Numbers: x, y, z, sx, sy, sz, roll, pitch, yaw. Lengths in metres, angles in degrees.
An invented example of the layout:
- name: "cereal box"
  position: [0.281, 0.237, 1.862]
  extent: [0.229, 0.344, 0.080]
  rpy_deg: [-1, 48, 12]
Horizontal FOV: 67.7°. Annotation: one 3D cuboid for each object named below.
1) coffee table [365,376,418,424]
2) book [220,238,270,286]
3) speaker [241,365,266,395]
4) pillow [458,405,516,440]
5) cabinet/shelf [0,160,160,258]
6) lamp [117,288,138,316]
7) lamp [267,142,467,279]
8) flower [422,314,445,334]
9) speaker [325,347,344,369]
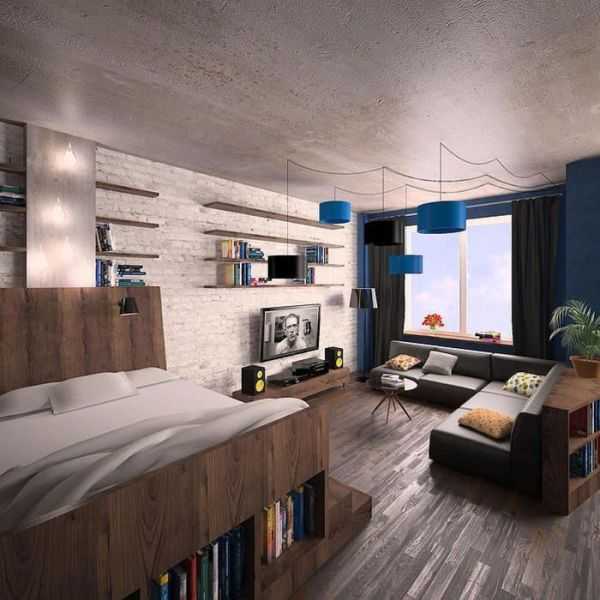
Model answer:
- name: "coffee table"
  position: [1.052, 1.045, 5.063]
  extent: [0.471, 0.498, 0.499]
  rpy_deg: [2, 2, 23]
- name: "book"
  position: [-0.693, -0.426, 5.046]
  extent: [0.279, 0.525, 0.678]
  rpy_deg: [5, 9, 39]
- name: "speaker"
  position: [-0.508, 0.855, 4.856]
  extent: [0.253, 0.422, 0.277]
  rpy_deg: [-2, -2, 22]
- name: "pillow"
  position: [1.620, 1.059, 3.865]
  extent: [0.305, 0.116, 0.446]
  rpy_deg: [-5, 8, -33]
- name: "cabinet/shelf"
  position: [-1.765, -0.691, 3.733]
  extent: [0.279, 0.713, 1.360]
  rpy_deg: [5, 9, 40]
- name: "lamp"
  position: [-1.458, 0.029, 3.844]
  extent: [0.184, 0.208, 0.157]
  rpy_deg: [-3, -4, 32]
- name: "lamp"
  position: [0.590, -0.810, 4.705]
  extent: [1.846, 1.194, 2.539]
  rpy_deg: [1, 7, 12]
- name: "flower"
  position: [2.013, 0.345, 6.750]
  extent: [0.274, 0.321, 0.298]
  rpy_deg: [-1, 0, 28]
- name: "speaker"
  position: [0.465, 0.775, 6.039]
  extent: [0.246, 0.438, 0.238]
  rpy_deg: [-2, -1, 28]
